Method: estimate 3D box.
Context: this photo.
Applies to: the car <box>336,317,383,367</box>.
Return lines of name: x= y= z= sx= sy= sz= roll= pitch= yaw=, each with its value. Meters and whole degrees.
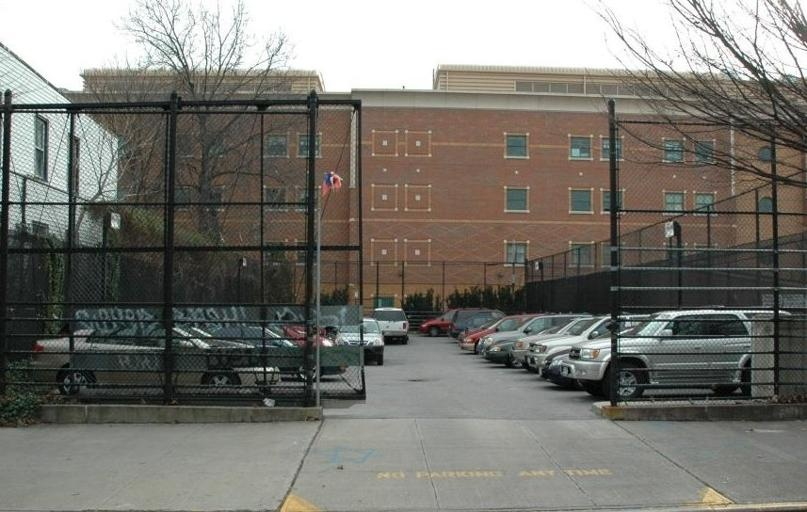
car: x=-1.209 y=2.479 z=31.290 sx=1.451 sy=1.482 sz=3.246 roll=0 pitch=-9 yaw=-1

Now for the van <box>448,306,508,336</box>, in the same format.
van: x=3.555 y=3.116 z=51.001 sx=2.030 sy=1.039 sz=1.312 roll=-7 pitch=2 yaw=-8

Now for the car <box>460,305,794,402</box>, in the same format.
car: x=6.611 y=2.537 z=28.705 sx=4.539 sy=1.902 sz=2.497 roll=2 pitch=-6 yaw=0

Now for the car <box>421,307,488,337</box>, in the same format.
car: x=2.316 y=3.519 z=58.683 sx=2.855 sy=1.103 sz=1.385 roll=-1 pitch=-2 yaw=9
